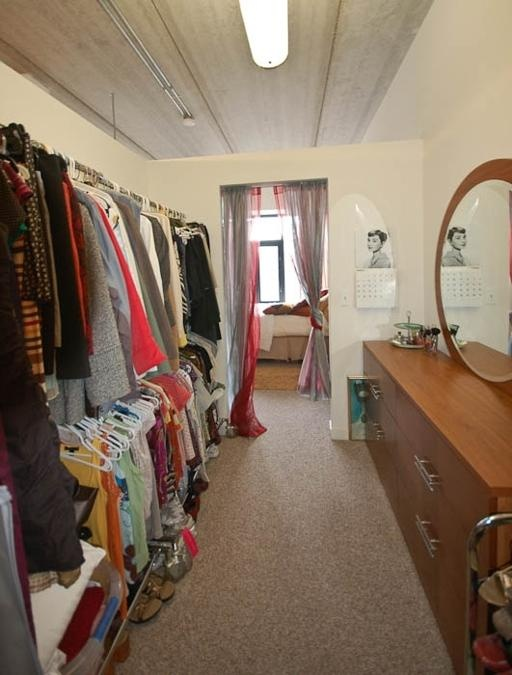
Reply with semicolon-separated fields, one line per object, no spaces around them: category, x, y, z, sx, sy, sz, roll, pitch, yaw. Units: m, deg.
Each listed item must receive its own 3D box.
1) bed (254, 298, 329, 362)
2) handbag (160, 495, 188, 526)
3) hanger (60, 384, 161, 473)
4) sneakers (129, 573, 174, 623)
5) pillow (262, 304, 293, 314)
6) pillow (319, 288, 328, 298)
bed;0.466;-0.034;5.767;0.738;0.539;0.809;2;10;7
handbag;-0.371;0.796;2.062;0.104;0.153;0.061;4;-29;-3
hanger;-0.494;0.299;1.574;0.213;0.072;0.217;4;11;19
sneakers;-0.402;1.011;1.784;0.097;0.056;0.159;-2;-4;1
pillow;0.294;-0.362;6.047;0.245;0.101;0.173;-6;4;-6
pillow;0.872;-0.559;5.906;0.067;0.109;0.315;0;8;13
